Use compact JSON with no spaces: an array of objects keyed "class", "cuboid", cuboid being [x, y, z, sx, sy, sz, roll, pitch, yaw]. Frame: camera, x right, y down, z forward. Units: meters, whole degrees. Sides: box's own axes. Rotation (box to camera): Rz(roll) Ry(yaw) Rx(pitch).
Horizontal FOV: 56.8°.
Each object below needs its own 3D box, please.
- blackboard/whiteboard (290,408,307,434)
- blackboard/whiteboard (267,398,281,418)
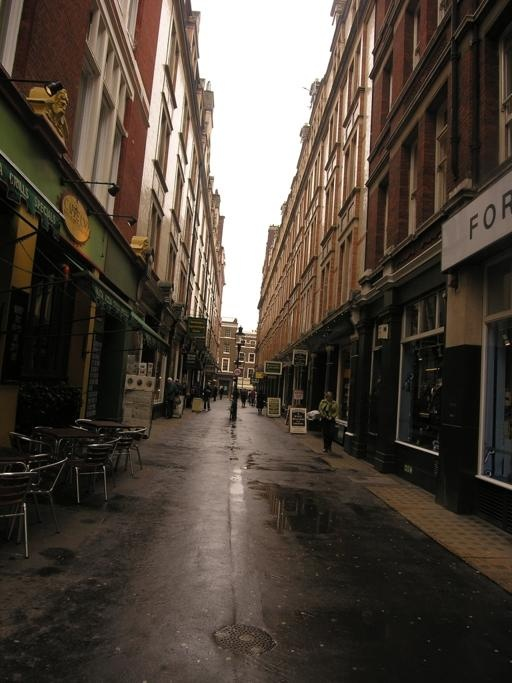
[{"class":"blackboard/whiteboard","cuboid":[1.767,3.392,20.166,0.727,1.557,0.474,2,-1,-5]},{"class":"blackboard/whiteboard","cuboid":[1.169,4.448,31.657,0.832,1.723,1.113,2,-6,0]}]
